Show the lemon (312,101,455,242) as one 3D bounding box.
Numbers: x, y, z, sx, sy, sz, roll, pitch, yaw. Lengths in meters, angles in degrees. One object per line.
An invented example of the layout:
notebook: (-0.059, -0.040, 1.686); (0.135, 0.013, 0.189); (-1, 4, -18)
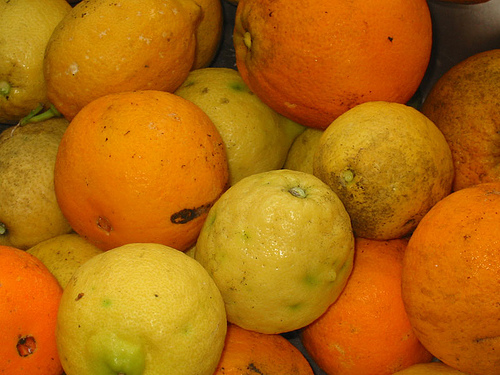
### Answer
lemon: (0.332, -0.098, 1.571); (0.376, 0.348, 0.327); (-27, 24, -24)

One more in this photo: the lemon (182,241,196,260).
lemon: (-0.164, 0.176, 1.560); (0.039, 0.024, 0.041); (2, 35, 21)

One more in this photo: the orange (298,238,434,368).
orange: (0.296, 0.299, 1.660); (0.343, 0.426, 0.347); (1, 4, -5)

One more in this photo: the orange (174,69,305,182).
orange: (-0.025, -0.188, 1.695); (0.351, 0.268, 0.280); (36, 39, -2)
